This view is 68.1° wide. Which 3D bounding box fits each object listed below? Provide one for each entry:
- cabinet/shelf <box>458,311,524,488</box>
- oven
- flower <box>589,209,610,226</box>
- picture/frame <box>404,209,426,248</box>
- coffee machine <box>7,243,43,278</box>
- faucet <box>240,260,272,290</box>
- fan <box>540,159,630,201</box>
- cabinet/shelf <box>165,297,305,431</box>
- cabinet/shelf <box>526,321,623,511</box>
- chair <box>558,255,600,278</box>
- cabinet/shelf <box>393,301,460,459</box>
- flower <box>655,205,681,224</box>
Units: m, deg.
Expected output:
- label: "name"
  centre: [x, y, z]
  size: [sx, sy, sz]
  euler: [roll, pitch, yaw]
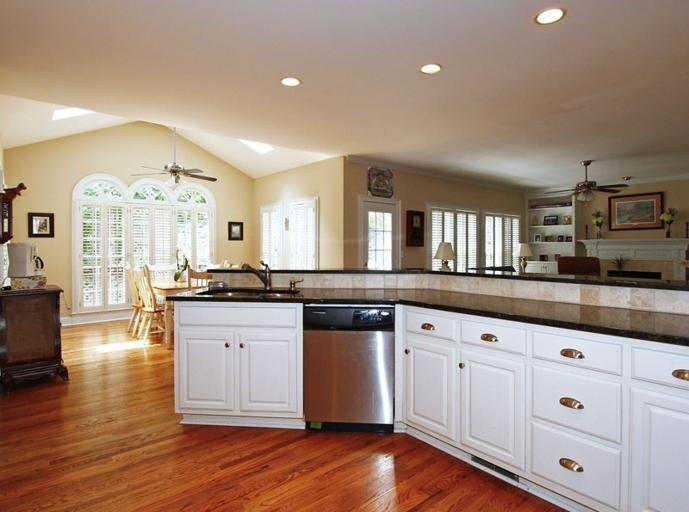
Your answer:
- label: "cabinet/shelf"
  centre: [1.052, 0.950, 3.550]
  size: [0.488, 0.961, 0.263]
  euler: [5, 16, 28]
- label: "oven"
  centre: [0.179, 0.927, 4.353]
  size: [0.842, 0.978, 0.720]
  euler: [-2, -6, 20]
- label: "flower"
  centre: [4.834, -0.734, 9.593]
  size: [0.328, 0.427, 0.094]
  euler: [9, 11, 42]
- label: "picture/frame"
  centre: [1.168, -0.443, 8.255]
  size: [0.136, 0.651, 0.507]
  euler: [9, 17, 37]
- label: "coffee machine"
  centre: [-3.383, 0.049, 5.380]
  size: [0.297, 0.395, 0.342]
  euler: [7, 16, 33]
- label: "faucet"
  centre: [-0.793, 0.163, 4.654]
  size: [0.266, 0.268, 0.313]
  euler: [-5, 13, -11]
- label: "fan"
  centre: [3.337, -1.015, 6.965]
  size: [0.869, 0.536, 0.972]
  euler: [-9, 8, -43]
- label: "cabinet/shelf"
  centre: [-0.857, 0.830, 4.127]
  size: [1.056, 0.944, 0.278]
  euler: [0, 14, 8]
- label: "cabinet/shelf"
  centre: [1.485, 1.027, 3.259]
  size: [0.597, 0.996, 0.313]
  euler: [4, 16, 25]
- label: "chair"
  centre: [3.073, 0.136, 6.651]
  size: [0.272, 0.337, 0.299]
  euler: [5, 4, 31]
- label: "cabinet/shelf"
  centre: [0.643, 0.881, 3.898]
  size: [0.658, 0.932, 0.202]
  euler: [9, 18, 39]
- label: "flower"
  centre: [5.453, -0.699, 8.606]
  size: [0.290, 0.273, 0.283]
  euler: [-20, 9, 7]
